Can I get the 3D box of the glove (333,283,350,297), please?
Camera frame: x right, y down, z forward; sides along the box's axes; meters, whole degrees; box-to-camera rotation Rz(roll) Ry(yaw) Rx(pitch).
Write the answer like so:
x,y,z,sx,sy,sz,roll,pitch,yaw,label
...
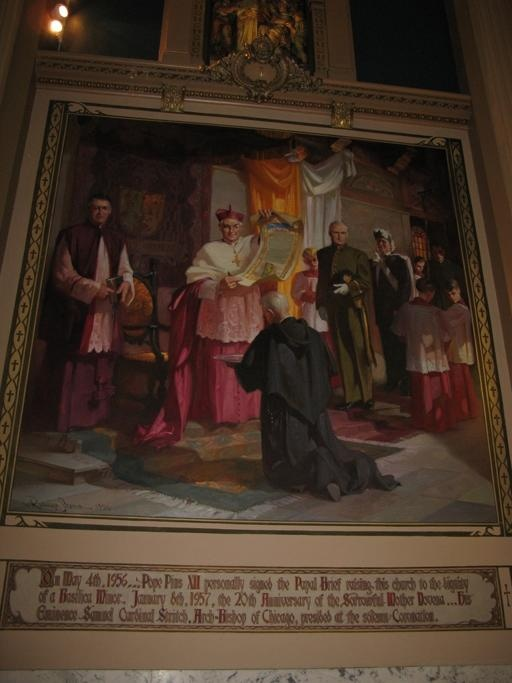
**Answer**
x,y,z,sx,sy,sz,roll,pitch,yaw,label
0.653,-0.400,4.610,0.147,0.113,0.084,1,-12,-4,glove
